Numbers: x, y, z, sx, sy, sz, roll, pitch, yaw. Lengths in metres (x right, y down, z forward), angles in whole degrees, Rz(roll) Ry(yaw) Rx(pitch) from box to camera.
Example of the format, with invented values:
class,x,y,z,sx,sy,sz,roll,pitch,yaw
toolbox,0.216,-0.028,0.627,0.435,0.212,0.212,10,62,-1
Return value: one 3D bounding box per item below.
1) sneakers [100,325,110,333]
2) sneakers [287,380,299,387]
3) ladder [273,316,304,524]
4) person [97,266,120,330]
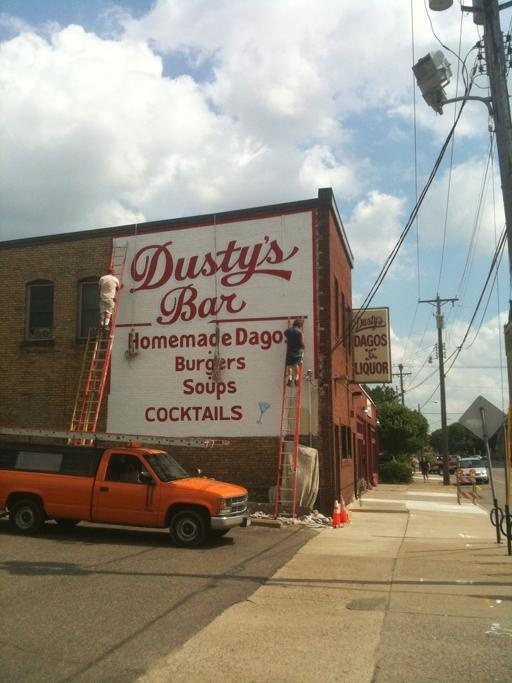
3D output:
class,x,y,z,sx,sy,sz,roll,pitch,yaw
sneakers,-3.887,-0.334,17.913,0.190,0.178,0.317,6,-10,-19
sneakers,0.819,0.972,16.414,0.242,0.174,0.136,-11,-16,43
ladder,0.731,1.615,16.115,0.624,4.636,1.285,1,-8,4
person,-3.795,-1.092,18.011,0.513,1.599,0.959,3,-9,-12
